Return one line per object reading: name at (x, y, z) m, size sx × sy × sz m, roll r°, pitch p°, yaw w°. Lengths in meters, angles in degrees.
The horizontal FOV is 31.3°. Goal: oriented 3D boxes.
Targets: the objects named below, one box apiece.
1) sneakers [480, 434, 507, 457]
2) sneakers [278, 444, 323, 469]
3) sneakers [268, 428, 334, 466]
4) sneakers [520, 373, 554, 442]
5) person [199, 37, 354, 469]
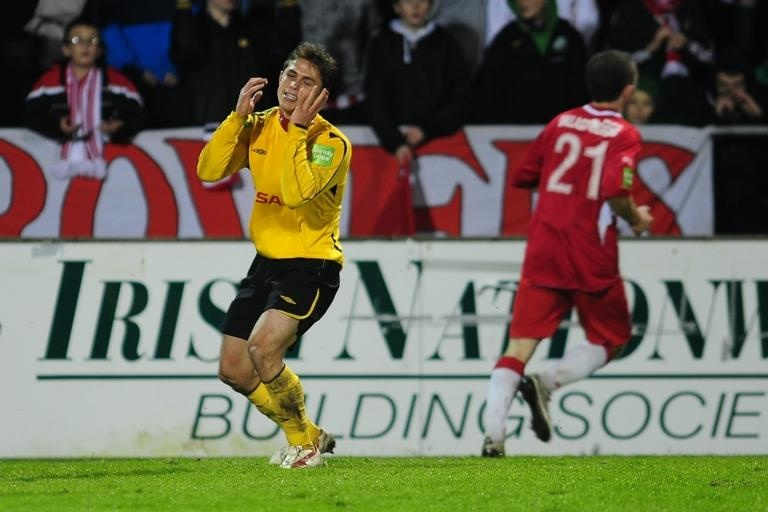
sneakers at (0.700, 1.246, 8.904) m, size 0.077 × 0.096 × 0.215 m, roll -1°, pitch -4°, yaw 21°
sneakers at (-0.523, 1.270, 8.631) m, size 0.283 × 0.132 × 0.106 m, roll 0°, pitch -4°, yaw -16°
sneakers at (-0.545, 1.226, 8.835) m, size 0.177 × 0.227 × 0.500 m, roll 0°, pitch 6°, yaw 37°
sneakers at (1.014, 0.984, 8.994) m, size 0.155 × 0.467 × 0.222 m, roll -12°, pitch 4°, yaw 24°
person at (-0.675, -0.007, 8.612) m, size 0.851 × 2.659 × 0.492 m, roll 3°, pitch 6°, yaw -4°
